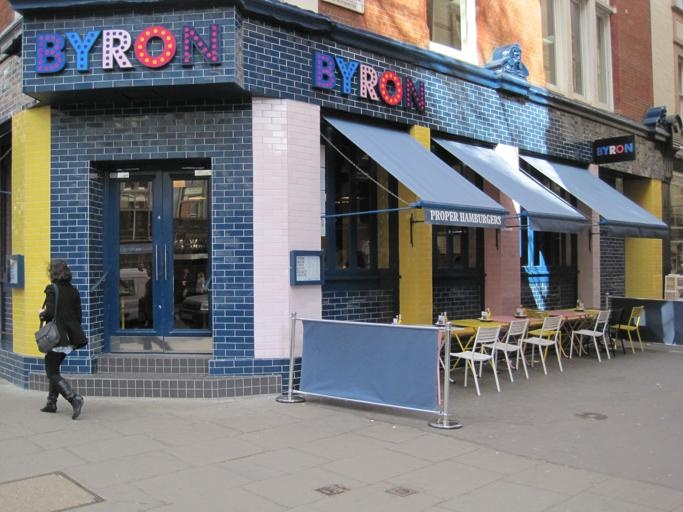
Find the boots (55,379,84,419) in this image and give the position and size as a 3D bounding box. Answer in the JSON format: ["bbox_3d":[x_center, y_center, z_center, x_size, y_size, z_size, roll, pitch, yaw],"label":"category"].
[{"bbox_3d":[-4.292,2.225,12.594,0.305,0.579,0.542,-9,15,-43],"label":"boots"}]

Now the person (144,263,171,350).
[{"bbox_3d":[-3.431,0.954,14.387,0.332,1.439,0.542,-7,14,-37],"label":"person"}]
